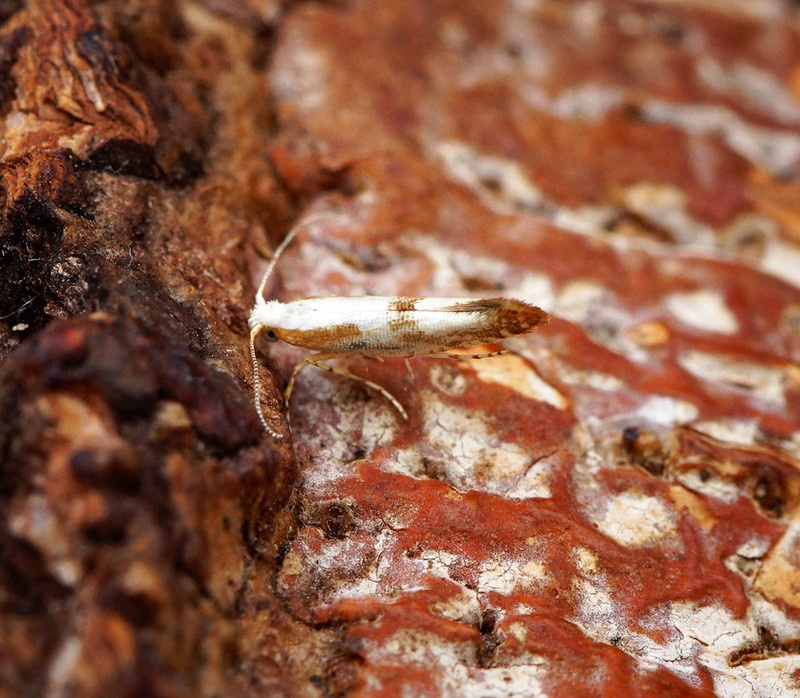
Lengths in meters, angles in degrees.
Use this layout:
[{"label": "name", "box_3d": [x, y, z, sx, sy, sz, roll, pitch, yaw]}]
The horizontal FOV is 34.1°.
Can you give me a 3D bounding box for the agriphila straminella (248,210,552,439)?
[{"label": "agriphila straminella", "box_3d": [-0.060, -0.175, 6.139, 1.295, 0.654, 1.035, -1, 58, -11]}]
